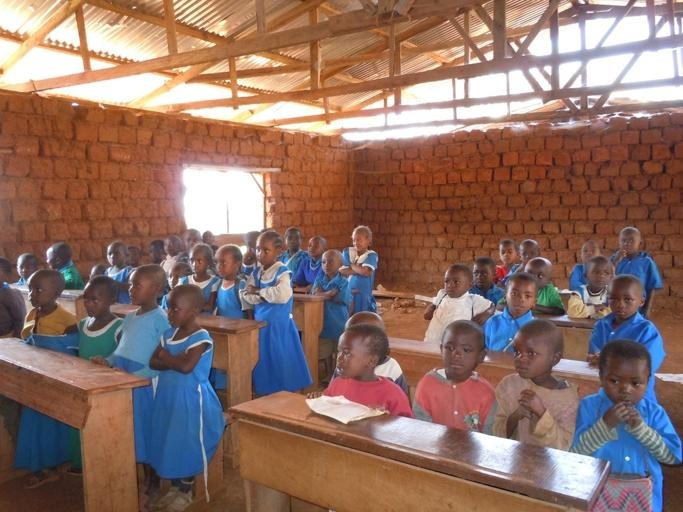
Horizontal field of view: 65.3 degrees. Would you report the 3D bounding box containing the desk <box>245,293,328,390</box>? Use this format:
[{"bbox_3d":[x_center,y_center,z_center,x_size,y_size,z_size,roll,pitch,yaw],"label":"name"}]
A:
[{"bbox_3d":[-0.512,0.755,4.748,0.884,0.788,0.394,11,21,39],"label":"desk"}]

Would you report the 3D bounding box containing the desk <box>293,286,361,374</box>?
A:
[{"bbox_3d":[-0.153,0.659,4.747,0.800,0.713,0.353,12,26,38],"label":"desk"}]

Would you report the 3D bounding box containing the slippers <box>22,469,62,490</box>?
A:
[{"bbox_3d":[-2.048,1.525,3.669,0.124,0.042,0.147,-4,3,32],"label":"slippers"}]
